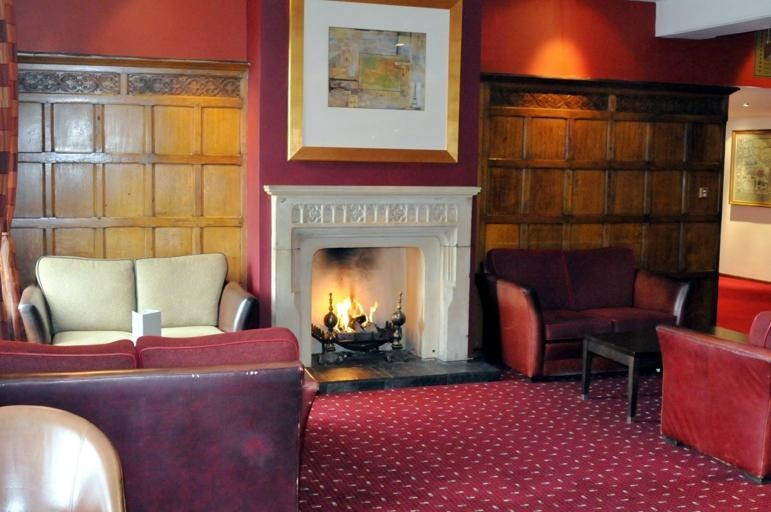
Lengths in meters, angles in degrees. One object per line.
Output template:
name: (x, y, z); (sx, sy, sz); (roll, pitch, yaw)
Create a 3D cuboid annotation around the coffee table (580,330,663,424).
coffee table: (2.210, 1.088, 5.822); (0.733, 0.556, 0.766); (-1, 0, -15)

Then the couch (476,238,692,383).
couch: (2.030, 0.492, 7.153); (2.379, 1.502, 1.336); (0, -2, -14)
